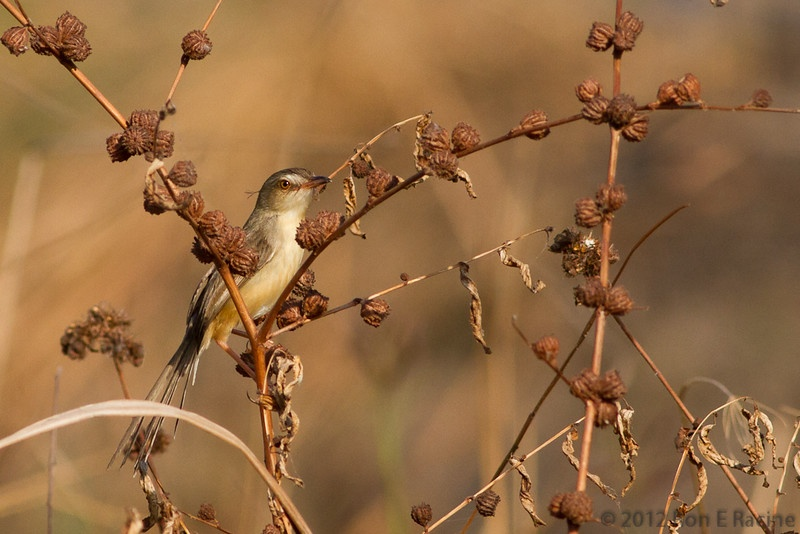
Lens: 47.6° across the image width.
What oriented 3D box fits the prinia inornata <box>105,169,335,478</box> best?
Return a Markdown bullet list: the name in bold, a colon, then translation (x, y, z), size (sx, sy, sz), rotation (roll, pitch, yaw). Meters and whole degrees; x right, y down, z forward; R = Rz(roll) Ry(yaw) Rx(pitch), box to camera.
- **prinia inornata**: translation (-1.455, 0.336, 7.449), size (1.738, 0.605, 2.201), rotation (-4, -88, -3)
